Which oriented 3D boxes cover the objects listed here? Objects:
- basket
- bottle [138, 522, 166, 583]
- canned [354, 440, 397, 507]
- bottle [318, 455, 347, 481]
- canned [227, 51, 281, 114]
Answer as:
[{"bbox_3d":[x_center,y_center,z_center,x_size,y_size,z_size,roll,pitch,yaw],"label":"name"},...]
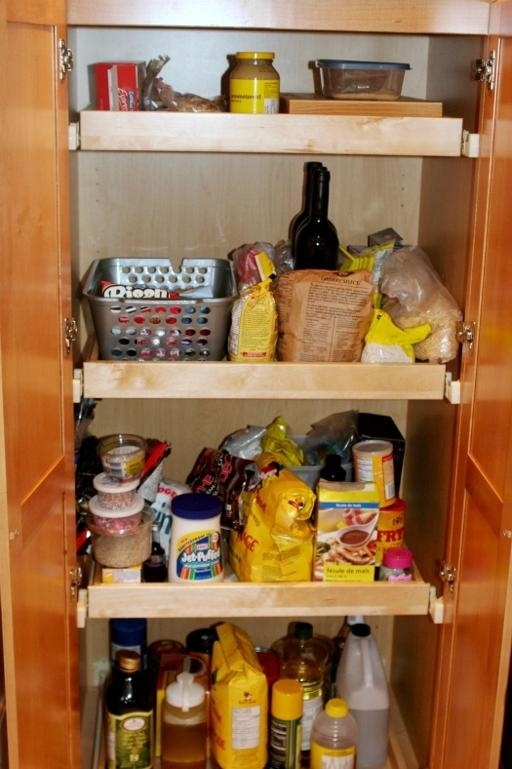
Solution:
[{"bbox_3d":[-0.169,-0.134,1.118,0.233,0.119,0.209,2,26,-5],"label":"basket"},{"bbox_3d":[-0.192,0.334,1.255,0.056,0.067,0.062,1,23,-4],"label":"bottle"},{"bbox_3d":[0.214,0.164,1.178,0.081,0.122,0.080,-6,17,4],"label":"canned"},{"bbox_3d":[0.145,0.155,1.221,0.033,0.060,0.060,3,6,6],"label":"bottle"},{"bbox_3d":[-0.006,-0.455,1.015,0.095,0.113,0.103,0,18,-3],"label":"canned"}]
